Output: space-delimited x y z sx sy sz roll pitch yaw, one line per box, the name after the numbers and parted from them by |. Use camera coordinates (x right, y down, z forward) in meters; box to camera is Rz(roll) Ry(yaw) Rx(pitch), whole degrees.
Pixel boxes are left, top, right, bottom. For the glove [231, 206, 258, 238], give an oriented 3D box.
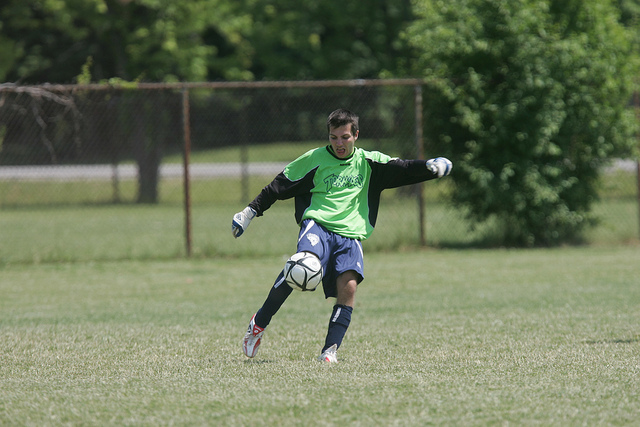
-0.970 0.096 15.571 0.170 0.507 0.212 44 -23 -19 | glove

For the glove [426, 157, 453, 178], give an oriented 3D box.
1.488 -0.565 15.503 0.276 0.111 0.208 2 -40 -41 | glove

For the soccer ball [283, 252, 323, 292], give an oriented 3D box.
-0.191 0.691 15.382 0.436 0.444 0.443 16 -24 7 | soccer ball

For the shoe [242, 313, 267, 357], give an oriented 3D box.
-0.805 1.484 15.574 0.181 0.537 0.238 20 -21 -24 | shoe

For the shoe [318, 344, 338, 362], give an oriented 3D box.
0.095 1.693 15.185 0.108 0.224 0.324 9 2 15 | shoe
